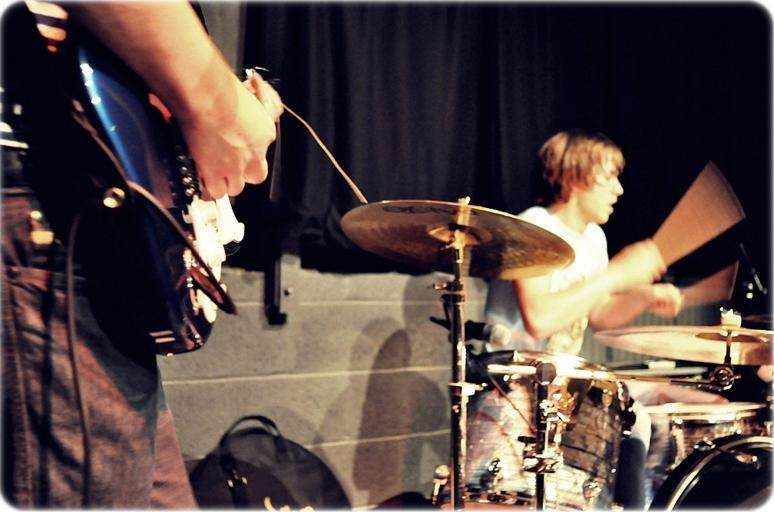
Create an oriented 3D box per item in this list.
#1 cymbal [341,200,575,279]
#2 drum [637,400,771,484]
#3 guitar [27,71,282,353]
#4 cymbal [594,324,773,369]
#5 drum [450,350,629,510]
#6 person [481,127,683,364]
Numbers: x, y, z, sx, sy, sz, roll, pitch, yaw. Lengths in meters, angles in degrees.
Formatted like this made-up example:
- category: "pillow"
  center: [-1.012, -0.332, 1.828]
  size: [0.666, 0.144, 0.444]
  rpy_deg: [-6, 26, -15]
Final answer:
- category: "cymbal"
  center: [0.264, -0.074, 3.313]
  size: [0.506, 0.116, 0.493]
  rpy_deg: [17, -26, -13]
- category: "drum"
  center: [1.298, 0.734, 3.560]
  size: [0.364, 0.317, 0.366]
  rpy_deg: [0, -6, 24]
- category: "guitar"
  center: [-0.866, -0.131, 3.082]
  size: [0.284, 1.081, 0.743]
  rpy_deg: [-3, 24, 35]
- category: "cymbal"
  center: [1.258, 0.356, 3.495]
  size: [0.341, 0.066, 0.324]
  rpy_deg: [9, -20, 6]
- category: "drum"
  center: [0.688, 0.738, 3.580]
  size: [0.596, 0.480, 0.678]
  rpy_deg: [4, -17, 36]
- category: "person"
  center: [0.994, 0.012, 4.453]
  size: [0.984, 1.501, 0.841]
  rpy_deg: [2, -4, 13]
